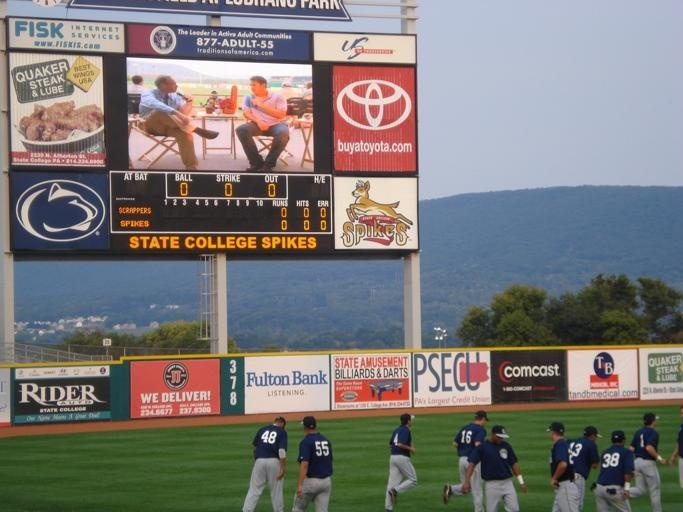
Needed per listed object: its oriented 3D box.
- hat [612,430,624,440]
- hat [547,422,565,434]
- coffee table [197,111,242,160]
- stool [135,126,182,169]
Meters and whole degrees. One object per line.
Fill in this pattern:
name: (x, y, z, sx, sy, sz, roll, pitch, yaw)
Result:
hat: (12.139, 7.879, 78.765, 0.525, 0.492, 0.430, -1, -3, 9)
hat: (9.442, 7.523, 78.842, 0.565, 0.494, 0.940, -2, -3, 16)
coffee table: (-6.656, -6.219, 94.183, 1.951, 1.947, 2.061, 3, 1, 14)
stool: (-9.824, -5.673, 93.463, 0.807, 2.156, 1.849, 1, 2, 41)
